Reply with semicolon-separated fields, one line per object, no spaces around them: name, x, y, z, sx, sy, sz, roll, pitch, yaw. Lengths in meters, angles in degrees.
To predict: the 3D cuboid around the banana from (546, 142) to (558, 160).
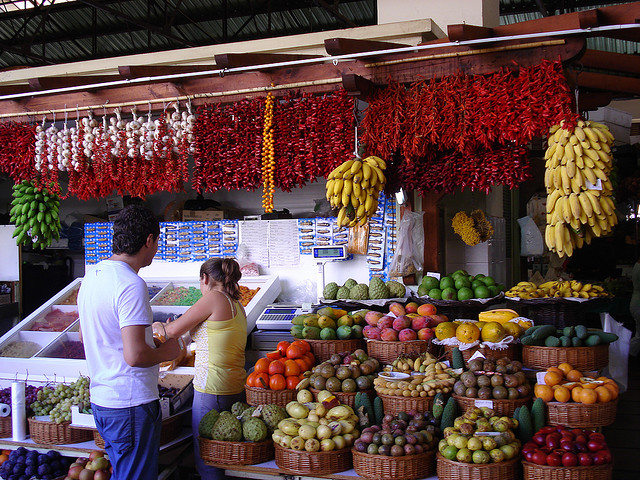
banana;1.359;-0.520;3.121;0.029;0.092;0.025;16;-3;-9

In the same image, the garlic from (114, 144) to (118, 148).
garlic;-1.544;-0.710;4.020;0.033;0.022;0.006;-3;0;27

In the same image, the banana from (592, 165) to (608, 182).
banana;1.567;-0.369;3.012;0.037;0.137;0.043;-36;-35;31

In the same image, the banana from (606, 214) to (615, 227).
banana;1.659;-0.114;3.039;0.026;0.085;0.022;-7;6;38

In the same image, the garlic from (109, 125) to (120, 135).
garlic;-1.549;-0.828;4.007;0.051;0.069;0.031;0;3;11

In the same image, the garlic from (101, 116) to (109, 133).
garlic;-1.645;-0.883;4.069;0.053;0.117;0.111;-2;0;-22

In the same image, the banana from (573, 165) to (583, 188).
banana;1.447;-0.360;2.988;0.037;0.118;0.037;-9;-35;31

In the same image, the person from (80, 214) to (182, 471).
person;-1.046;0.572;2.973;0.518;1.271;0.310;-2;0;-23

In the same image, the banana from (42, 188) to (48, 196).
banana;-2.326;-0.410;4.502;0.037;0.054;0.063;-2;0;-27

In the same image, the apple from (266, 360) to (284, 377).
apple;-0.301;0.854;3.563;0.092;0.098;0.090;-3;-11;30

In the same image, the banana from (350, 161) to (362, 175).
banana;0.223;-0.456;3.329;0.032;0.111;0.032;23;-43;6

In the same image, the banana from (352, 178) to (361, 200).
banana;0.221;-0.323;3.357;0.040;0.127;0.033;2;-17;-41

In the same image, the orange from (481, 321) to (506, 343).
orange;1.123;0.595;3.463;0.137;0.111;0.105;-15;2;7

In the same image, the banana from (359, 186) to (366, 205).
banana;0.265;-0.280;3.369;0.027;0.102;0.033;8;-6;-19

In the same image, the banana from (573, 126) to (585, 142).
banana;1.456;-0.598;3.008;0.036;0.032;0.116;-1;35;5

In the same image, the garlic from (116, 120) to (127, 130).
garlic;-1.499;-0.869;4.017;0.049;0.063;0.032;5;31;-18

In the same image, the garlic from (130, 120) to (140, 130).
garlic;-1.363;-0.844;3.909;0.058;0.062;0.032;2;3;-15

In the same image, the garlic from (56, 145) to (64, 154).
garlic;-2.034;-0.706;4.168;0.040;0.057;0.043;4;0;-30

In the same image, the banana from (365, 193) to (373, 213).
banana;0.314;-0.238;3.392;0.028;0.112;0.039;7;-8;13

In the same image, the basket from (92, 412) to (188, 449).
basket;-1.246;1.307;3.731;0.436;0.159;0.326;0;1;4

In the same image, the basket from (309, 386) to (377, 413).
basket;0.144;1.008;3.418;0.440;0.153;0.133;-3;0;5

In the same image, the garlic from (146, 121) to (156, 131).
garlic;-1.238;-0.837;3.904;0.059;0.085;0.061;-9;-30;-20

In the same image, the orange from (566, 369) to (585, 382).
orange;1.591;0.834;3.317;0.058;0.063;0.082;-4;-2;-6

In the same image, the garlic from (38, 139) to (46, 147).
garlic;-2.196;-0.765;4.194;0.055;0.059;0.021;2;2;-17

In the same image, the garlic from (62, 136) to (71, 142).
garlic;-1.984;-0.792;4.155;0.037;0.029;0.029;1;-9;1

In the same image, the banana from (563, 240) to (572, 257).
banana;1.453;0.048;3.108;0.058;0.112;0.025;0;-14;20

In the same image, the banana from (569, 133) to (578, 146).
banana;1.436;-0.571;3.021;0.032;0.067;0.022;-26;-47;23

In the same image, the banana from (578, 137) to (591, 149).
banana;1.490;-0.541;2.995;0.051;0.064;0.038;-2;0;-13

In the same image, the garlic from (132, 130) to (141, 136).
garlic;-1.349;-0.791;3.920;0.042;0.014;0.042;3;-15;-37

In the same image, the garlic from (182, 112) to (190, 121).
garlic;-0.977;-0.892;3.842;0.043;0.059;0.032;-2;-9;-6

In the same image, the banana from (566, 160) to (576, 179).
banana;1.412;-0.398;3.000;0.045;0.095;0.030;-11;-12;39

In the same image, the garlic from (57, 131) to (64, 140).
garlic;-2.037;-0.814;4.165;0.030;0.062;0.020;-4;-8;2

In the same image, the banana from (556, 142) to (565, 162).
banana;1.377;-0.506;3.053;0.033;0.108;0.029;8;-7;-10

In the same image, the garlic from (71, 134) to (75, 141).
garlic;-1.920;-0.799;4.140;0.031;0.045;0.017;-3;-5;33

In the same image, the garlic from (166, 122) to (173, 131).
garlic;-1.105;-0.823;3.880;0.040;0.052;0.024;1;14;5

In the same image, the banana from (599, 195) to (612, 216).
banana;1.603;-0.195;3.001;0.029;0.113;0.035;-23;-21;-4

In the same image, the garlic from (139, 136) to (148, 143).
garlic;-1.302;-0.741;3.923;0.047;0.049;0.014;1;3;16

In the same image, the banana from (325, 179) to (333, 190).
banana;0.055;-0.356;3.421;0.025;0.072;0.019;33;-2;-7

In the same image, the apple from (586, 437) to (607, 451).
apple;1.575;1.174;3.041;0.065;0.048;0.083;-18;6;-14

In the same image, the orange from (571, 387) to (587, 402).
orange;1.548;0.921;3.218;0.072;0.092;0.074;-1;5;-1

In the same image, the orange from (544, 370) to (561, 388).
orange;1.424;0.851;3.310;0.082;0.102;0.083;20;-40;-34

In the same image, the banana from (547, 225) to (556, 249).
banana;1.353;-0.023;3.123;0.046;0.140;0.033;-3;-9;1

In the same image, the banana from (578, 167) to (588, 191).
banana;1.482;-0.346;3.006;0.029;0.118;0.021;-9;-7;7

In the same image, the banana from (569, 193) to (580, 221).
banana;1.424;-0.190;3.000;0.044;0.145;0.043;-7;-29;16

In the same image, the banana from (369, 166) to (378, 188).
banana;0.337;-0.401;3.366;0.035;0.141;0.046;-1;-20;-9

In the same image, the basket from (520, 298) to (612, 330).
basket;2.121;0.628;4.639;0.734;0.306;0.752;0;-7;1

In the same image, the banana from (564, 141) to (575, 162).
banana;1.414;-0.499;3.018;0.036;0.118;0.040;9;-15;-12

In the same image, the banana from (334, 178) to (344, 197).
banana;0.115;-0.333;3.381;0.033;0.120;0.038;23;5;22

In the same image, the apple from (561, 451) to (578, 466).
apple;1.383;1.205;2.960;0.060;0.075;0.062;-2;19;6

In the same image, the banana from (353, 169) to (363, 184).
banana;0.238;-0.399;3.324;0.031;0.032;0.105;-1;40;23

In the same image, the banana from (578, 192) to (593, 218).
banana;1.475;-0.201;3.011;0.044;0.152;0.048;-9;-34;-6

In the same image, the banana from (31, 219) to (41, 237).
banana;-2.415;-0.105;4.528;0.045;0.172;0.059;23;-11;-31

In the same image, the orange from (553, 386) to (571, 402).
orange;1.460;0.928;3.221;0.093;0.096;0.037;-3;0;12

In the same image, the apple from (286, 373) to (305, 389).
apple;-0.172;0.927;3.539;0.090;0.090;0.092;-7;-17;4

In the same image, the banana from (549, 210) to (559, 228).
banana;1.352;-0.117;3.084;0.022;0.083;0.027;5;-7;16
